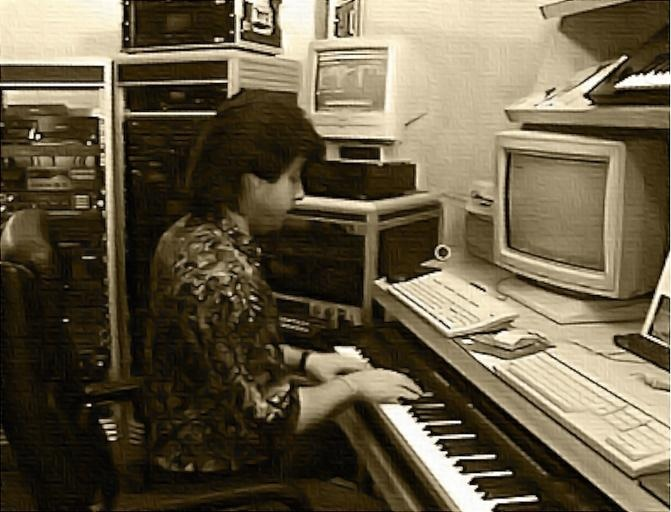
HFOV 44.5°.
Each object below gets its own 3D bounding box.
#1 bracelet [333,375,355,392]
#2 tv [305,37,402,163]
[{"bbox_3d":[0.028,0.362,2.315,0.052,0.053,0.014,-25,-21,22],"label":"bracelet"},{"bbox_3d":[0.059,-0.428,2.285,0.334,0.433,0.325,1,7,3],"label":"tv"}]
